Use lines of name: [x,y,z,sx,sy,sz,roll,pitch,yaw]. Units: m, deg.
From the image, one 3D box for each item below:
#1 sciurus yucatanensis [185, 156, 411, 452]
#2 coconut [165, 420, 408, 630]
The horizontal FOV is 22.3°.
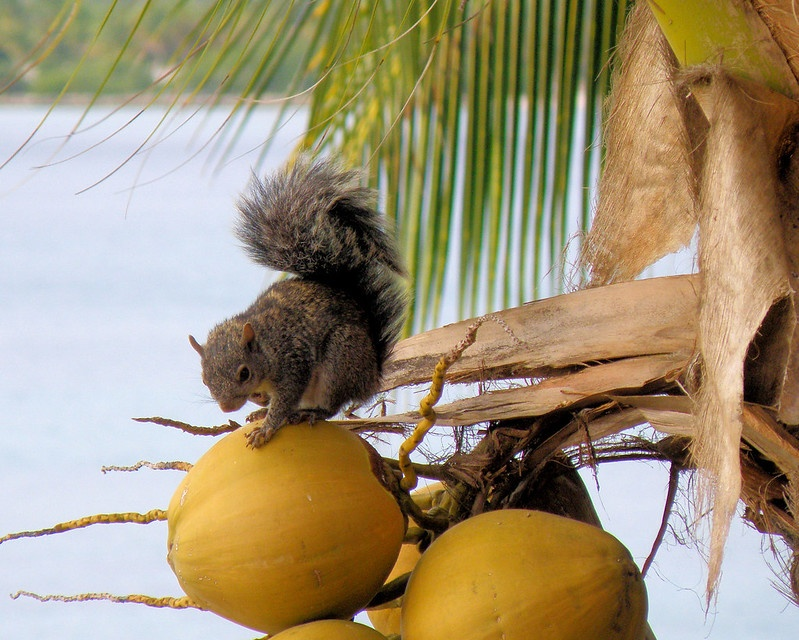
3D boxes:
sciurus yucatanensis: [-0.202,-0.064,4.750,0.495,0.589,0.575,0,10,-20]
coconut: [-0.205,0.349,4.237,0.529,0.523,0.453,-6,7,-4]
